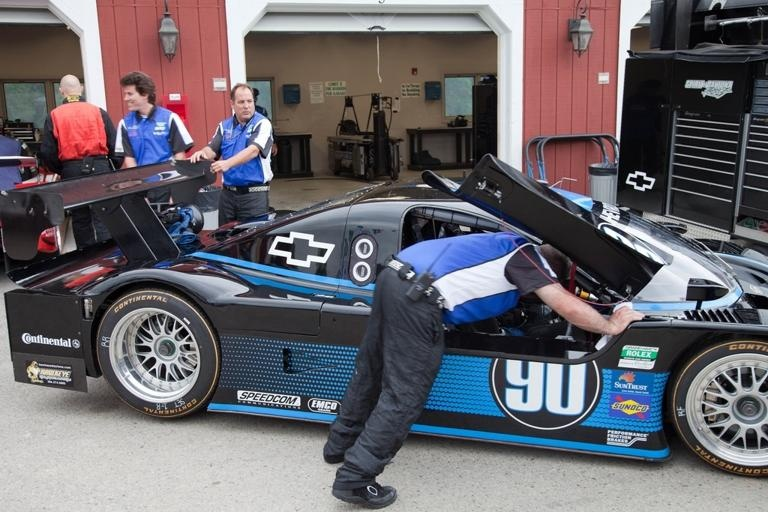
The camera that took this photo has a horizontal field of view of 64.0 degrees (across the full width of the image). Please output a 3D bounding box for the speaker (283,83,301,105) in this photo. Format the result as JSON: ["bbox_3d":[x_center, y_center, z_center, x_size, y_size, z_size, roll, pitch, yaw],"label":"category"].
[{"bbox_3d":[-2.838,-4.985,18.947,0.586,0.605,0.224,-5,14,-11],"label":"speaker"}]

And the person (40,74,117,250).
[{"bbox_3d":[-3.747,-1.187,7.545,0.785,2.104,0.635,-8,35,-27],"label":"person"}]

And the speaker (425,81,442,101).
[{"bbox_3d":[1.606,-5.446,20.188,0.549,0.695,0.383,-4,10,-17],"label":"speaker"}]

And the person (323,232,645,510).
[{"bbox_3d":[0.356,0.687,3.908,1.527,1.558,0.514,-6,14,-14],"label":"person"}]

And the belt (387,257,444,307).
[{"bbox_3d":[0.206,0.160,3.745,0.270,0.269,0.085,0,-17,26],"label":"belt"}]
